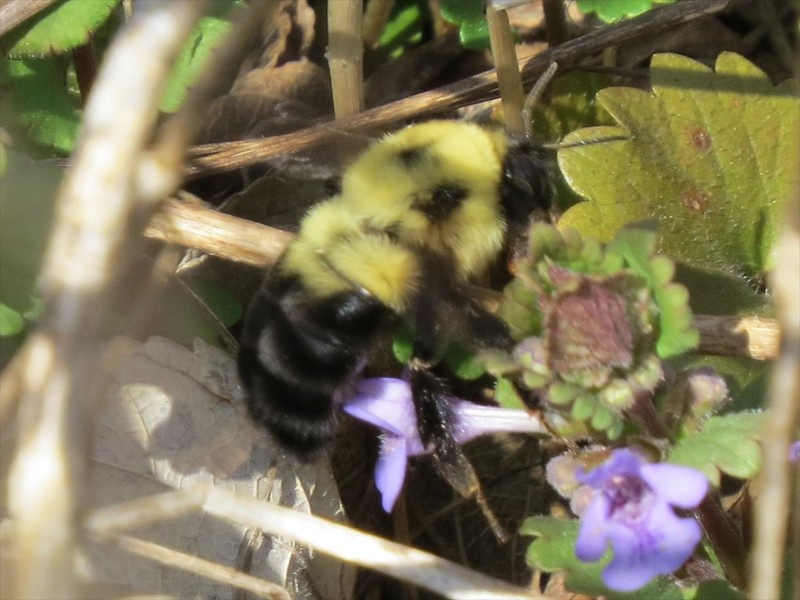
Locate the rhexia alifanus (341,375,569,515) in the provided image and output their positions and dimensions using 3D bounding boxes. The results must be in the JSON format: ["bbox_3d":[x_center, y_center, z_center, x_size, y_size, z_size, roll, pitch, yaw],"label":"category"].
[{"bbox_3d":[0.093,0.313,2.866,0.357,0.401,0.355,-3,35,-7],"label":"rhexia alifanus"}]

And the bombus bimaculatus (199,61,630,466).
[{"bbox_3d":[0.098,-0.163,3.270,1.058,0.822,0.917,3,22,7],"label":"bombus bimaculatus"}]

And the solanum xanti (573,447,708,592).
[{"bbox_3d":[0.480,0.441,2.383,0.256,0.274,0.144,9,11,7],"label":"solanum xanti"}]
